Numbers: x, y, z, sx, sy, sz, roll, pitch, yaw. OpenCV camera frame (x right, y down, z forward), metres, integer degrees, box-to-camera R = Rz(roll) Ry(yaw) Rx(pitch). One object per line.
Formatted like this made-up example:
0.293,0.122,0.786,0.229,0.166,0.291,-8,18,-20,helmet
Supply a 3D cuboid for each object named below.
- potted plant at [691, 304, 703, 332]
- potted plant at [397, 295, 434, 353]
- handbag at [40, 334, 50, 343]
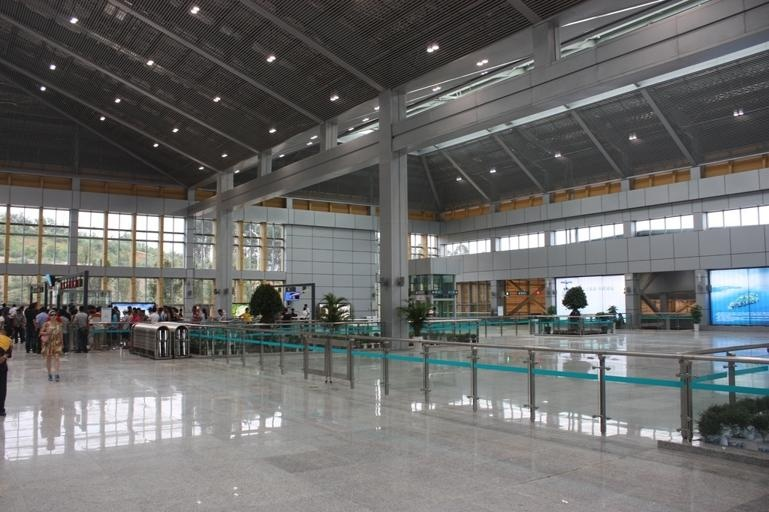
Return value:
18.590,3.705,33.744,0.543,1.211,1.005,-1,0,30,potted plant
1.247,2.613,23.422,1.246,1.661,0.902,-1,0,8,potted plant
-9.348,2.284,15.568,0.259,0.223,0.060,4,-9,-41,handbag
